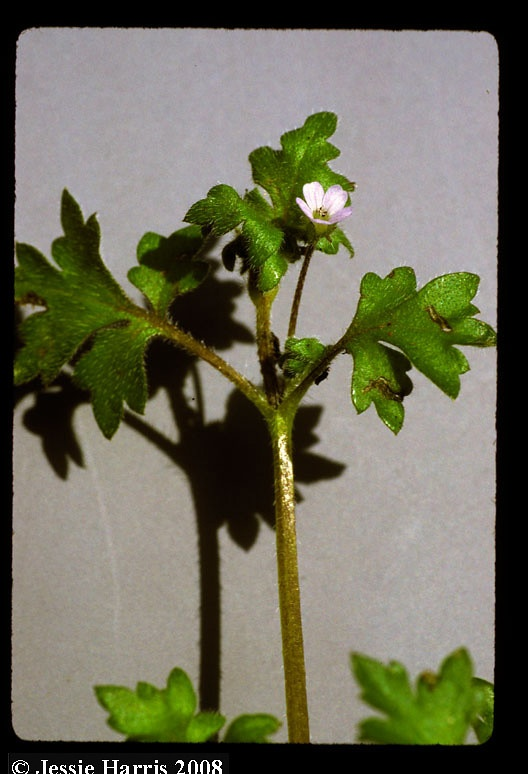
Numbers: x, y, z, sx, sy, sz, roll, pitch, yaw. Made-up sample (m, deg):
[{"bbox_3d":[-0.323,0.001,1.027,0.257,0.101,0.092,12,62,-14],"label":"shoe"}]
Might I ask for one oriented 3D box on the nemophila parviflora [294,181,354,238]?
[{"bbox_3d":[0.099,-0.284,1.480,0.092,0.062,0.093,17,-11,48],"label":"nemophila parviflora"}]
